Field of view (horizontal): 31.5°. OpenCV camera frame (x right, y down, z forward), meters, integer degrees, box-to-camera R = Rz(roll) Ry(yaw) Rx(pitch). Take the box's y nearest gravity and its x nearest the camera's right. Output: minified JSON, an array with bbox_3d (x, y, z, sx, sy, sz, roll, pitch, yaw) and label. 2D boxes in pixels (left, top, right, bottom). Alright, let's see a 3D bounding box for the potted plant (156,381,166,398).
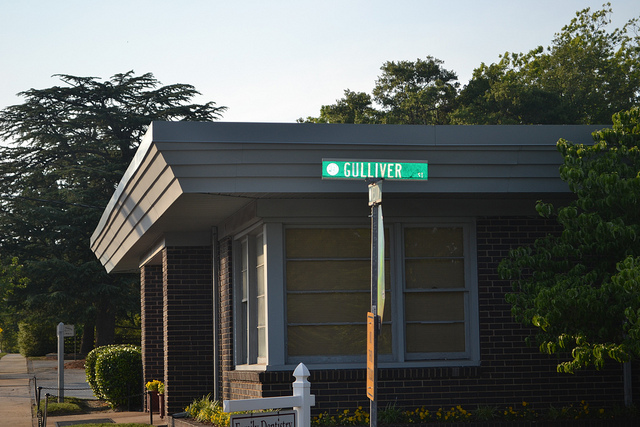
[{"bbox_3d":[-5.049,5.675,36.054,0.169,0.472,0.564,5,-16,-18],"label":"potted plant"}]
